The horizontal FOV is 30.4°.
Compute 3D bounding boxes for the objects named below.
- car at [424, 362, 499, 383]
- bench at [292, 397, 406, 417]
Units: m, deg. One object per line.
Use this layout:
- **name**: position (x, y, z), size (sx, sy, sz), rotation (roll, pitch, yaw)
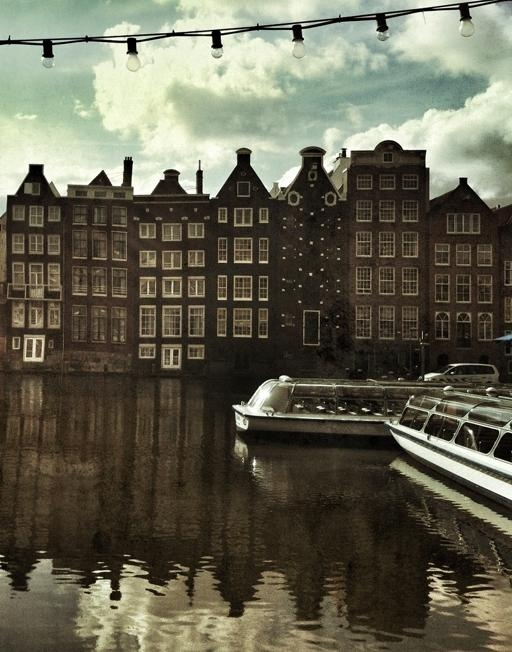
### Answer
- **car**: position (8.733, 1.966, 39.544), size (1.659, 0.814, 0.968), rotation (1, -3, 0)
- **bench**: position (2.155, 1.965, 22.620), size (1.827, 0.304, 1.001), rotation (0, 1, -11)
